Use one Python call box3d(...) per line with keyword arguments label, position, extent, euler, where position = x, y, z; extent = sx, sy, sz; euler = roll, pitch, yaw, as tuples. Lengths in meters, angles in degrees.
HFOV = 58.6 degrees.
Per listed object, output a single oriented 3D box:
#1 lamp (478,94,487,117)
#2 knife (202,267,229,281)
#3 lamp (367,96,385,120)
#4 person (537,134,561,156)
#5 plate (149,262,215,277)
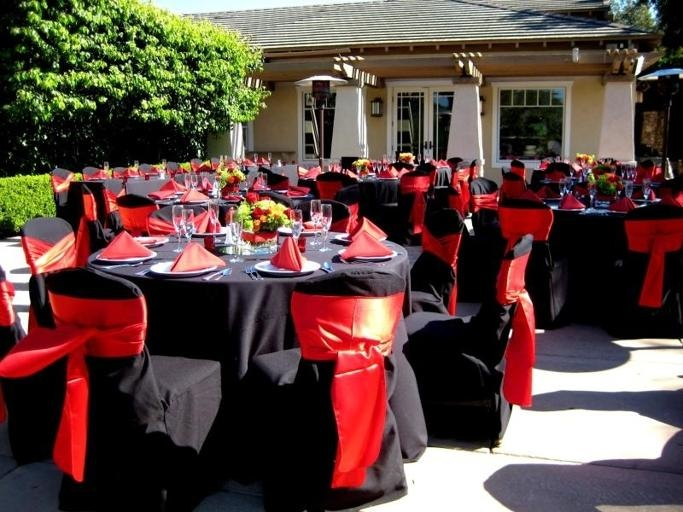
box3d(label="lamp", position=(3.709, -3.952, 16.037), extent=(0.249, 0.553, 0.142), euler=(-10, 13, -44))
box3d(label="knife", position=(-0.763, 0.101, 3.772), extent=(0.051, 0.032, 0.196), euler=(10, 10, 4))
box3d(label="lamp", position=(0.971, -3.992, 16.437), extent=(0.388, 0.783, 0.424), euler=(1, 0, -34))
box3d(label="person", position=(5.478, -2.866, 15.931), extent=(0.672, 0.847, 0.189), euler=(0, 6, 9))
box3d(label="plate", position=(-1.013, 0.082, 3.842), extent=(0.434, 0.063, 0.227), euler=(2, 11, 10))
